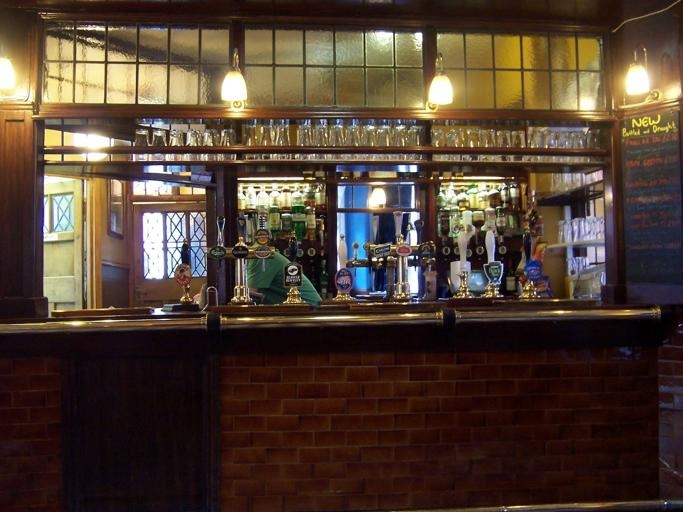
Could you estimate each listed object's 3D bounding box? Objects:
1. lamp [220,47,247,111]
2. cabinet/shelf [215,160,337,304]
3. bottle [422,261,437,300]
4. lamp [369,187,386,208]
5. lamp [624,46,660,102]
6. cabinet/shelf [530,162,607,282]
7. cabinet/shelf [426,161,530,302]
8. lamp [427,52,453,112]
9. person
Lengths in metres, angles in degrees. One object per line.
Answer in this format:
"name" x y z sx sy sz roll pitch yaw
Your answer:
"lamp" -0.766 -1.261 6.584 0.224 0.474 0.239 -2 -2 -16
"cabinet/shelf" -0.663 -0.069 7.696 0.691 1.358 0.733 -16 -6 -7
"bottle" 0.641 0.198 6.694 0.107 0.304 0.108 -1 -9 0
"lamp" 0.317 -0.546 8.688 0.160 0.205 0.168 1 -5 -7
"lamp" 2.204 -1.343 6.750 0.257 0.358 0.428 -1 1 18
"cabinet/shelf" 2.324 -0.458 9.143 0.258 0.858 0.877 -11 28 -11
"cabinet/shelf" 1.299 -0.393 8.773 0.777 1.569 0.492 -1 19 11
"lamp" 0.727 -1.331 6.953 0.189 0.403 0.691 -1 1 5
"person" -0.378 0.166 6.490 0.553 0.387 0.717 -2 1 -16
